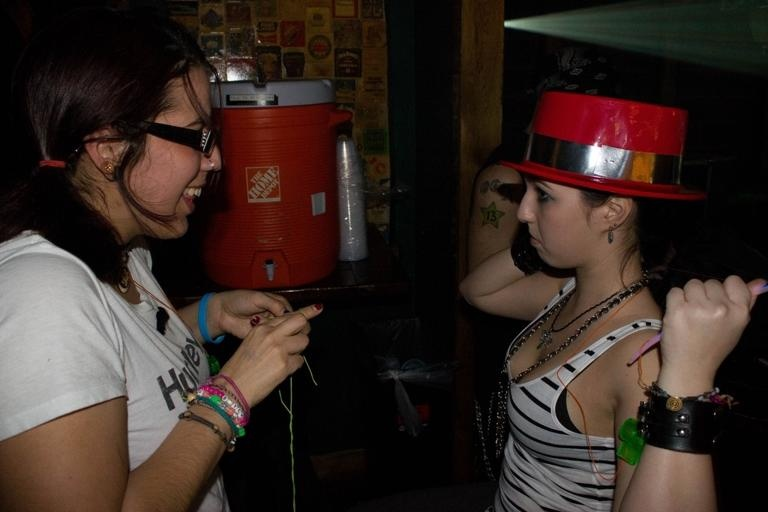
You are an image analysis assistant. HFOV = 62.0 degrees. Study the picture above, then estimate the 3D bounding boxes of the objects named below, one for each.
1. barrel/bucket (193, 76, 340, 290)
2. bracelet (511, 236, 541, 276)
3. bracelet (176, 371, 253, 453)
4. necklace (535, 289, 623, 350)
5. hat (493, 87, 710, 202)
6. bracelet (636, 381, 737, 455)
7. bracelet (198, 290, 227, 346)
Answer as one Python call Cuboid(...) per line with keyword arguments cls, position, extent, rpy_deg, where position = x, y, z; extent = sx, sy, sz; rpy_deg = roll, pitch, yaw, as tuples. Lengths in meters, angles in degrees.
Cuboid(cls="barrel/bucket", position=(-0.413, -0.343, 2.728), extent=(0.832, 0.926, 0.721), rpy_deg=(-1, 15, -6))
Cuboid(cls="bracelet", position=(0.485, 0.006, 2.193), extent=(0.041, 0.087, 0.117), rpy_deg=(-16, 16, -23))
Cuboid(cls="bracelet", position=(-0.416, 0.382, 1.579), extent=(0.088, 0.177, 0.149), rpy_deg=(-27, 67, -37))
Cuboid(cls="necklace", position=(0.573, 0.179, 1.853), extent=(0.212, 0.011, 0.147), rpy_deg=(-39, 13, 13))
Cuboid(cls="hat", position=(0.600, -0.301, 1.724), extent=(0.372, 0.154, 0.372), rpy_deg=(8, 13, 16))
Cuboid(cls="bracelet", position=(0.711, 0.380, 1.527), extent=(0.158, 0.128, 0.184), rpy_deg=(-1, 3, -17))
Cuboid(cls="bracelet", position=(-0.581, 0.210, 2.151), extent=(0.115, 0.141, 0.038), rpy_deg=(0, -1, 8))
